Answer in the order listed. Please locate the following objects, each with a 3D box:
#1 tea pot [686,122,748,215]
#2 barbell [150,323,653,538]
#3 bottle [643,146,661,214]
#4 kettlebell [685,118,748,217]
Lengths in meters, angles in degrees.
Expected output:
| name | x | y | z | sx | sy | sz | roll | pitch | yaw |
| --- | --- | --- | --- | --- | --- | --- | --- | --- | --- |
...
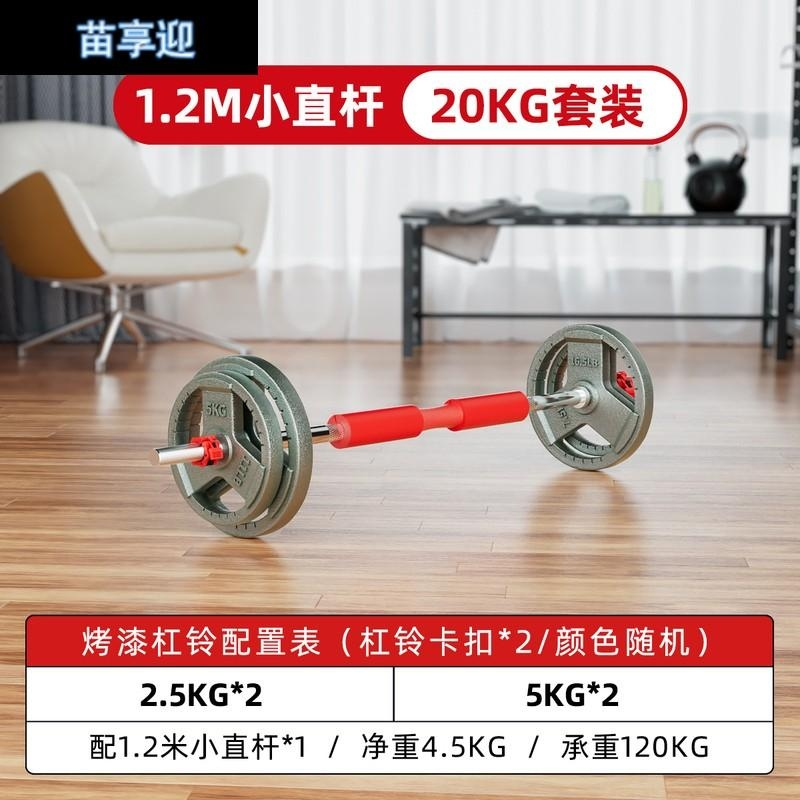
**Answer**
| name | x | y | z | sx | sy | sz | roll | pitch | yaw |
| --- | --- | --- | --- | --- | --- | --- | --- | --- | --- |
| tea pot | 1.355 | -0.979 | 3.701 | 0.238 | 0.430 | 0.210 | 5 | 0 | 32 |
| barbell | 0.023 | 0.035 | 1.439 | 0.901 | 0.290 | 0.337 | -8 | 14 | -35 |
| bottle | 1.172 | -1.031 | 3.959 | 0.097 | 0.325 | 0.516 | 3 | 12 | 16 |
| kettlebell | 1.359 | -0.982 | 3.707 | 0.232 | 0.425 | 0.208 | 4 | -4 | 34 |
